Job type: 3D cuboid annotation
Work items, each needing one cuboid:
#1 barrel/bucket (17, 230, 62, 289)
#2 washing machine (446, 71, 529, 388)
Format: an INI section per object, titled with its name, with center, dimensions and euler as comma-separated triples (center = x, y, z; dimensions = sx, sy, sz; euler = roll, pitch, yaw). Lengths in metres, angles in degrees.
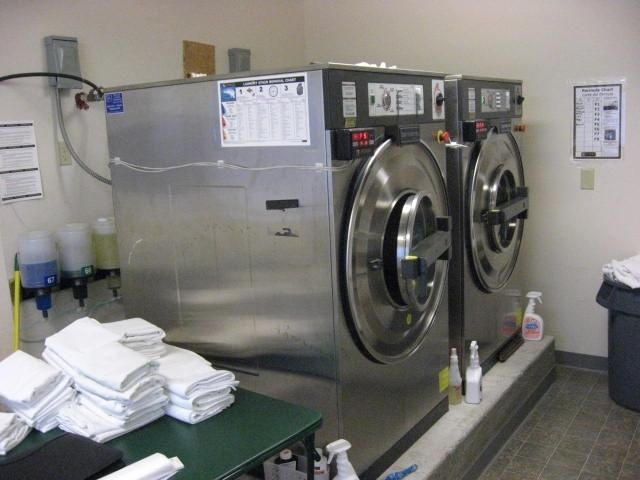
[barrel/bucket]
center = -1.405, 0.089, 2.437
dimensions = 0.159, 0.257, 0.162
euler = 7, 19, -2
[washing machine]
center = 1.011, -0.081, 2.974
dimensions = 0.352, 1.741, 0.931
euler = 10, 17, 34
